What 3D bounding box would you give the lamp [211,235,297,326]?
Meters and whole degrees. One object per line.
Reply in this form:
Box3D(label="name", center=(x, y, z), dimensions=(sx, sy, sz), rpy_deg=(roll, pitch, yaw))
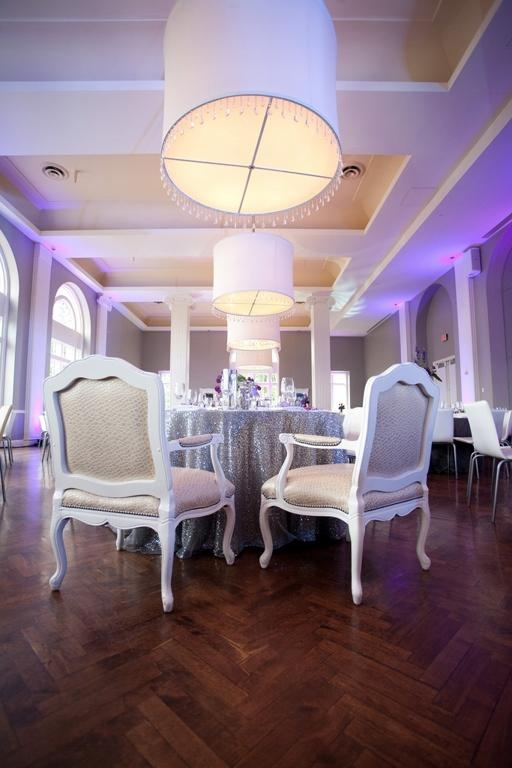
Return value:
Box3D(label="lamp", center=(-0.007, -0.732, 3.324), dimensions=(0.574, 0.447, 0.628), rpy_deg=(-1, -12, 4))
